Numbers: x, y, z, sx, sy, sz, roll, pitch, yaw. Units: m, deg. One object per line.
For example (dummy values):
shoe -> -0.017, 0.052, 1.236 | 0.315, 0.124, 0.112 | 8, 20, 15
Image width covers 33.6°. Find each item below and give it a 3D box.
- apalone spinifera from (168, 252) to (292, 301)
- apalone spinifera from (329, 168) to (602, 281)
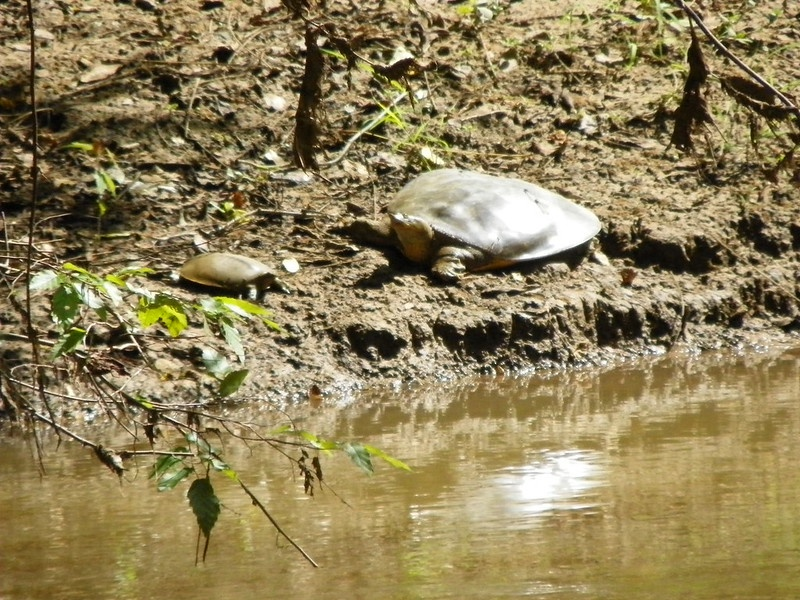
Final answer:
apalone spinifera -> -1.043, -0.160, 8.206 | 0.518, 0.111, 0.373 | 14, 17, 11
apalone spinifera -> 0.513, -0.494, 8.989 | 1.596, 0.516, 0.876 | -8, 18, -26
